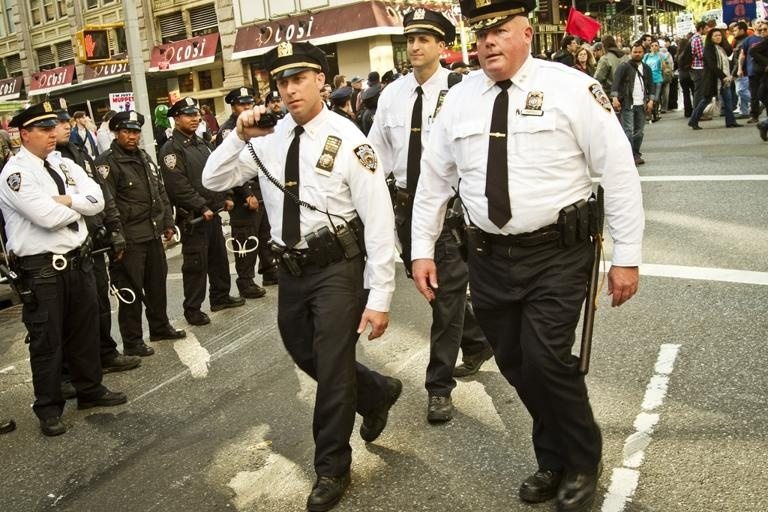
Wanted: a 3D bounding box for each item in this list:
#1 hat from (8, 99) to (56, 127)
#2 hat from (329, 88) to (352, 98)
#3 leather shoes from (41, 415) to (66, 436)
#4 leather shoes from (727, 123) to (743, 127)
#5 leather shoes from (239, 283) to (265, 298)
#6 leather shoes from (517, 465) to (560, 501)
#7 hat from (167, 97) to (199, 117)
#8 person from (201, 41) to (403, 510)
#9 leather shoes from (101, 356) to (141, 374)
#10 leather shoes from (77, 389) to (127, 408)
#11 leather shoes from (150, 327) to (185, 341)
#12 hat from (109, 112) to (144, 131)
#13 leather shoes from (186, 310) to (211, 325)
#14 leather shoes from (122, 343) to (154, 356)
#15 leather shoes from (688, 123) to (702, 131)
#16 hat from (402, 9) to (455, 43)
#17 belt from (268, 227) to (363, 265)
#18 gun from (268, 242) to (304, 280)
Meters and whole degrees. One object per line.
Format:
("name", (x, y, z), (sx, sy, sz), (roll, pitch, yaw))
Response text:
("hat", (-3.093, -1.253, 5.778), (0.300, 0.140, 0.271), (4, 13, 33))
("hat", (-0.640, -2.642, 10.586), (0.282, 0.100, 0.308), (8, 21, 35))
("leather shoes", (-2.915, 1.486, 5.732), (0.198, 0.136, 0.186), (-12, 15, -26))
("leather shoes", (8.431, -3.135, 15.781), (0.430, 0.150, 0.130), (-3, 8, -14))
("leather shoes", (-1.751, 0.472, 8.789), (0.359, 0.153, 0.156), (-1, 10, 6))
("leather shoes", (1.011, 1.475, 4.217), (0.134, 0.121, 0.349), (2, 2, 40))
("hat", (-2.457, -1.822, 8.042), (0.280, 0.137, 0.301), (-10, -1, -40))
("person", (-0.474, 0.072, 4.562), (1.151, 3.055, 1.203), (-10, 15, -13))
("leather shoes", (-2.756, 1.128, 6.872), (0.447, 0.165, 0.145), (-3, 15, -10))
("leather shoes", (-2.632, 1.324, 6.174), (0.499, 0.173, 0.176), (-5, 9, -8))
("leather shoes", (-2.498, 0.903, 7.658), (0.465, 0.155, 0.156), (-5, 4, -2))
("hat", (-2.906, -1.472, 7.262), (0.309, 0.138, 0.315), (-5, 3, -34))
("leather shoes", (-2.280, 0.764, 8.008), (0.363, 0.132, 0.136), (1, 5, 28))
("leather shoes", (-2.692, 1.029, 7.192), (0.332, 0.133, 0.129), (1, 5, -2))
("leather shoes", (7.715, -3.221, 16.242), (0.277, 0.169, 0.524), (0, 14, 21))
("hat", (0.422, -1.954, 5.607), (0.335, 0.130, 0.374), (6, -5, 37))
("belt", (-0.443, -0.058, 4.498), (0.431, 0.140, 0.301), (-5, 7, 2))
("gun", (-0.685, 0.023, 4.559), (0.254, 0.225, 0.106), (-4, 19, 40))
